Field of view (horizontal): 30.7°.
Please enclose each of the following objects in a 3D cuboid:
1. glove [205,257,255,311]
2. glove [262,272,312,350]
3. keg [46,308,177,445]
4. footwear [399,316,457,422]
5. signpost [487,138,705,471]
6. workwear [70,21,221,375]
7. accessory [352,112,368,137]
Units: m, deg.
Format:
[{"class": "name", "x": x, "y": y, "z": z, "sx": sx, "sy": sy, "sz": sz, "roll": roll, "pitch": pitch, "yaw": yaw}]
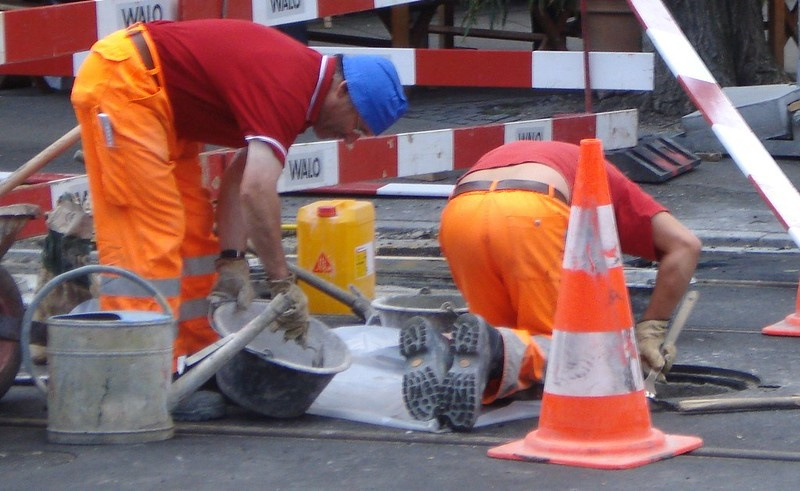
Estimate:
[{"class": "glove", "x": -0.939, "y": 0.221, "z": 8.222, "sx": 0.280, "sy": 0.263, "sz": 0.124, "roll": -2, "pitch": -16, "yaw": 15}, {"class": "glove", "x": -0.555, "y": 0.360, "z": 8.038, "sx": 0.179, "sy": 0.338, "sz": 0.278, "roll": -28, "pitch": 20, "yaw": -27}, {"class": "keg", "x": -1.641, "y": 0.717, "z": 7.861, "sx": 0.759, "sy": 0.652, "sz": 0.788, "roll": -1, "pitch": -3, "yaw": 36}, {"class": "footwear", "x": 0.115, "y": 0.662, "z": 7.917, "sx": 0.257, "sy": 0.561, "sz": 0.288, "roll": -10, "pitch": -20, "yaw": 26}, {"class": "signpost", "x": 0.976, "y": 0.310, "z": 7.330, "sx": 0.795, "sy": 1.616, "sz": 0.566, "roll": -12, "pitch": 15, "yaw": -31}, {"class": "workwear", "x": -1.405, "y": -0.332, "z": 8.359, "sx": 0.717, "sy": 1.762, "sz": 0.908, "roll": 9, "pitch": 19, "yaw": 22}, {"class": "accessory", "x": -0.219, "y": -0.668, "z": 8.084, "sx": 0.123, "sy": 0.100, "sz": 0.035, "roll": -5, "pitch": -7, "yaw": 13}]
